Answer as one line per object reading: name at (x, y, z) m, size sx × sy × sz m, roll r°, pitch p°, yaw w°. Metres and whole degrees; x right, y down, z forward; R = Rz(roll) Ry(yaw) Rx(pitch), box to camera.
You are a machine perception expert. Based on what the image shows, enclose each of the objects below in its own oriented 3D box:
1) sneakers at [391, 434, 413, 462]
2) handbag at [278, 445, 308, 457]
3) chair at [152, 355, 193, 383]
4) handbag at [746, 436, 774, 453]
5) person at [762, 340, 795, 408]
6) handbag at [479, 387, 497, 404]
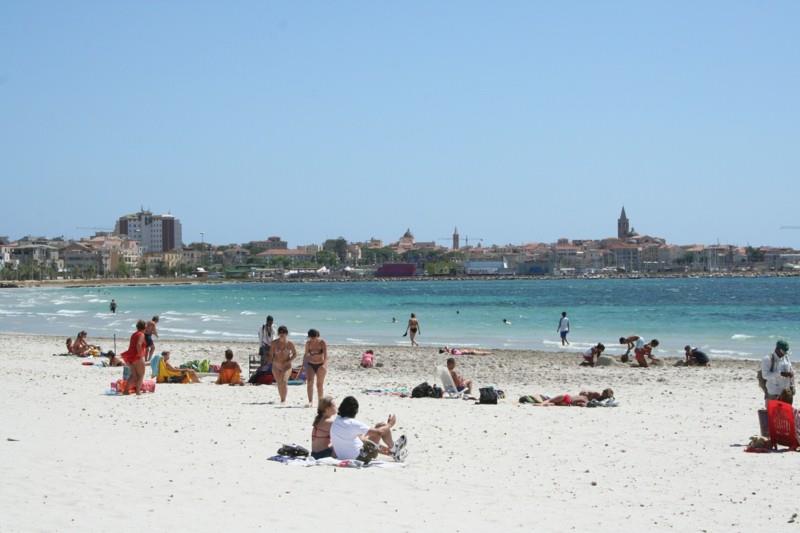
sneakers at (-0.003, 3.338, 20.628) m, size 0.211 × 0.538 × 0.253 m, roll 7°, pitch -14°, yaw 39°
handbag at (-1.989, 3.416, 20.474) m, size 0.381 × 0.120 × 0.253 m, roll 5°, pitch -3°, yaw 5°
chair at (-5.670, 2.613, 27.525) m, size 0.883 × 0.514 × 0.556 m, roll 0°, pitch -3°, yaw -8°
handbag at (6.829, 3.384, 21.074) m, size 0.500 × 0.191 × 0.496 m, roll 5°, pitch 11°, yaw 19°
person at (7.331, 2.138, 21.622) m, size 0.684 × 1.330 × 1.353 m, roll 5°, pitch 12°, yaw 18°
handbag at (2.009, 2.897, 24.819) m, size 0.433 × 0.364 × 0.289 m, roll -1°, pitch 0°, yaw -11°
